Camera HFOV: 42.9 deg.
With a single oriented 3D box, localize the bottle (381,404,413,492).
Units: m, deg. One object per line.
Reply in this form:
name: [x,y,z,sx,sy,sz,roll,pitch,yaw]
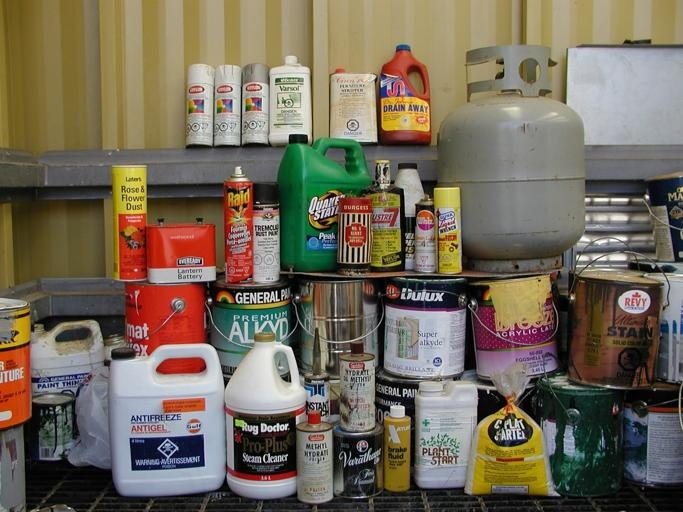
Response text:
bottle: [0.208,0.740,3.329,0.104,0.319,0.096,-4,10,1]
